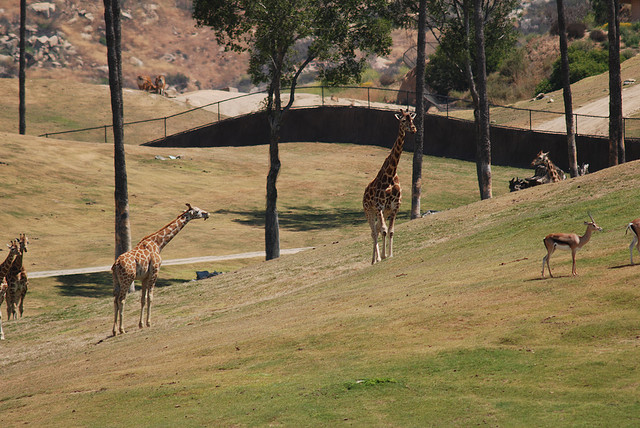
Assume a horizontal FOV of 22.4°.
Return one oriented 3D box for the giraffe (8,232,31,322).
[{"bbox_3d":[-32.437,6.647,172.455,2.847,8.142,2.981,2,-7,-5],"label":"giraffe"}]
